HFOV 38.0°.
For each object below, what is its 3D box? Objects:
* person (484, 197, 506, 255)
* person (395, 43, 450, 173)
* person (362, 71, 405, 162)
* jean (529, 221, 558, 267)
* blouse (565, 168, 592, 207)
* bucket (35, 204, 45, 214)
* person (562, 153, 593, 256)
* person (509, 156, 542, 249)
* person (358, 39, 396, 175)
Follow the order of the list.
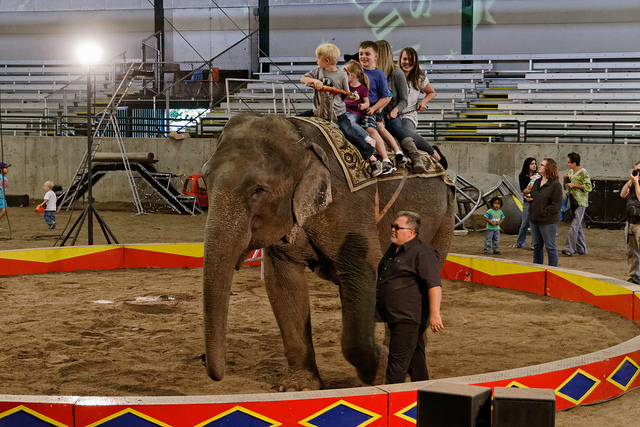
[{"bbox_3d":[4.963,0.337,26.582,0.482,1.578,0.968,4,5,10],"label":"person"},{"bbox_3d":[2.103,-2.328,19.928,0.892,2.528,1.179,-5,7,-35],"label":"person"},{"bbox_3d":[1.374,-1.859,19.093,0.636,1.622,1.201,-5,-3,-9],"label":"person"},{"bbox_3d":[5.568,0.652,23.276,0.658,1.853,0.502,5,25,25],"label":"jean"},{"bbox_3d":[7.184,-0.777,26.034,0.568,1.046,0.860,-15,16,-36],"label":"blouse"},{"bbox_3d":[-8.891,-0.146,29.691,0.177,0.252,0.251,13,30,20],"label":"bucket"},{"bbox_3d":[7.197,-0.298,26.016,0.782,2.865,0.973,1,6,18],"label":"person"},{"bbox_3d":[6.074,-0.260,26.973,0.947,2.651,0.775,-5,7,-38],"label":"person"},{"bbox_3d":[1.130,-2.215,19.121,0.636,2.853,0.565,1,0,9],"label":"person"}]
